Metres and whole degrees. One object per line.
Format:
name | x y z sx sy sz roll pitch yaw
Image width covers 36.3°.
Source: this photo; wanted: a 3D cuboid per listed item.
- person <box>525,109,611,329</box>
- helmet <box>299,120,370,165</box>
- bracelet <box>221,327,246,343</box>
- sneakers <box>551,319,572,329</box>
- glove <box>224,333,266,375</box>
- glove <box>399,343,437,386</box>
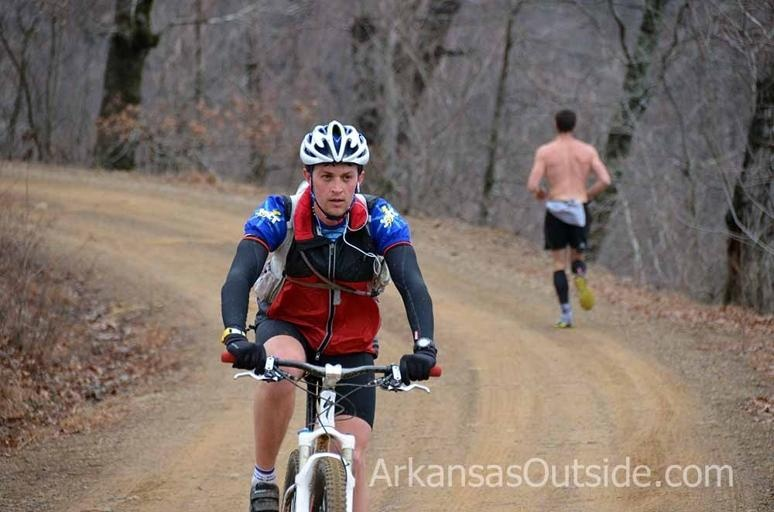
person | 2.229 -0.572 14.623 0.944 2.435 0.430 3 3 8
helmet | -0.507 -1.018 11.368 0.512 0.312 0.693 1 -16 34
bracelet | -1.441 0.764 11.000 0.136 0.093 0.190 3 -43 -11
sneakers | 2.246 0.864 15.104 0.254 0.193 0.090 5 3 25
glove | -1.302 0.885 10.895 0.412 0.361 0.206 3 3 2
glove | 0.333 0.971 11.146 0.277 0.267 0.600 -2 24 17
